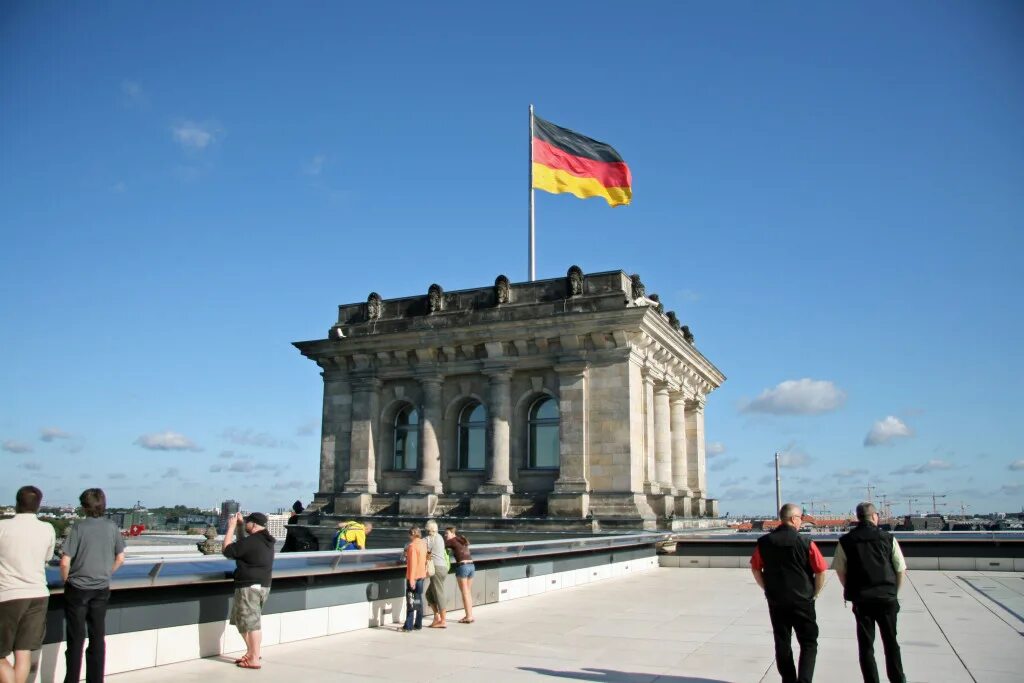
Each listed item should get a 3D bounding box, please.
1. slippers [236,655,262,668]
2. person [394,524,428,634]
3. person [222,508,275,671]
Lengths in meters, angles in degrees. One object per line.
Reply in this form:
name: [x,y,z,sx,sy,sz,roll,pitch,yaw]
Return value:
slippers: [-4.931,5.981,15.980,0.417,0.160,0.236,10,-13,1]
person: [-2.149,5.296,19.180,0.507,2.221,0.431,6,-17,-25]
person: [-5.038,4.723,16.304,0.864,2.814,0.492,3,-16,-16]
